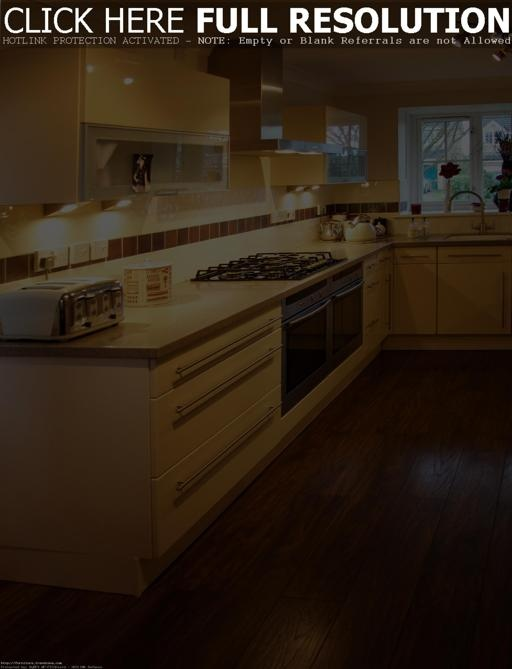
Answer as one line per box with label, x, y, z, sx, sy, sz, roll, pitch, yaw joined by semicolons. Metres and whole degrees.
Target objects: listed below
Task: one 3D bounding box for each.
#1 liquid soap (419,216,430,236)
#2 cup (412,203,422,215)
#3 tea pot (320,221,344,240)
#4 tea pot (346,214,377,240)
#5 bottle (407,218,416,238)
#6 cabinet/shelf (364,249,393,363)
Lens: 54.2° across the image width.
liquid soap;1.920;-1.216;5.653;0.094;0.197;0.298;-1;0;19
cup;1.885;-1.462;5.863;0.130;0.165;0.143;1;11;10
tea pot;0.819;-1.119;5.364;0.242;0.202;0.169;0;11;6
tea pot;1.111;-1.130;5.316;0.274;0.295;0.311;-1;2;4
bottle;1.755;-1.192;5.586;0.084;0.214;0.369;-1;0;18
cabinet/shelf;1.197;-0.311;4.862;0.458;1.030;0.982;-1;6;14
